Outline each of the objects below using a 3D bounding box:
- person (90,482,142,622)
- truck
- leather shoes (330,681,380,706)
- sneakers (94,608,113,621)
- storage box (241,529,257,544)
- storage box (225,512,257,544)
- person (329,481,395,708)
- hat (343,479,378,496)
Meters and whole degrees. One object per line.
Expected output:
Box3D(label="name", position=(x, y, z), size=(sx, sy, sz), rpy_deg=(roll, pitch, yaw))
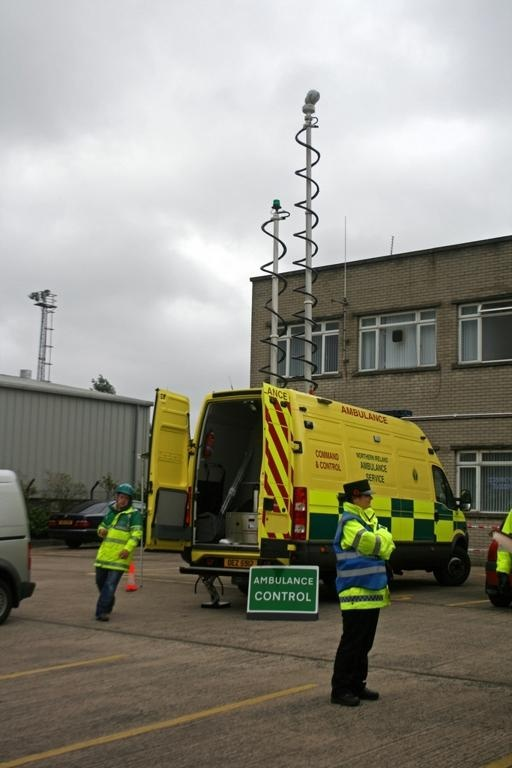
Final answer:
Box3D(label="person", position=(-1.678, 2.049, 8.713), size=(0.540, 1.599, 1.115), rpy_deg=(3, -4, -11))
Box3D(label="truck", position=(0.823, 1.590, 11.177), size=(2.062, 2.891, 5.564), rpy_deg=(-1, -5, 39))
Box3D(label="leather shoes", position=(0.650, 2.012, 4.588), size=(0.372, 0.087, 0.198), rpy_deg=(6, -5, -36))
Box3D(label="sneakers", position=(-1.768, 2.682, 8.279), size=(0.113, 0.148, 0.343), rpy_deg=(5, -17, -10))
Box3D(label="storage box", position=(-0.083, 2.172, 10.148), size=(0.248, 0.253, 0.176), rpy_deg=(0, 2, 22))
Box3D(label="storage box", position=(-0.224, 2.061, 10.289), size=(0.415, 0.328, 0.437), rpy_deg=(-3, -8, 25))
Box3D(label="person", position=(0.686, 1.379, 4.786), size=(0.377, 1.444, 0.602), rpy_deg=(1, -5, 24))
Box3D(label="hat", position=(0.707, 0.703, 4.941), size=(0.130, 0.078, 0.190), rpy_deg=(1, -7, -40))
